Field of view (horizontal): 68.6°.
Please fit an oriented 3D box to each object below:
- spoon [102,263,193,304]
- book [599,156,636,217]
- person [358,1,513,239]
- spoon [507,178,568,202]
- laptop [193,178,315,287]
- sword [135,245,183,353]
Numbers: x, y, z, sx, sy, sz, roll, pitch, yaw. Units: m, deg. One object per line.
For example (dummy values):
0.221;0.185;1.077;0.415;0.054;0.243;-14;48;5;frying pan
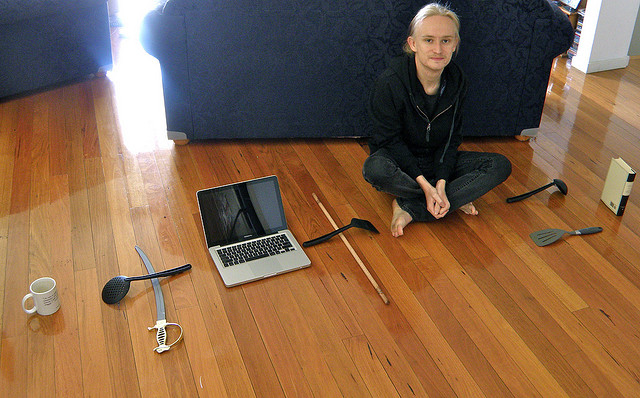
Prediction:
-0.955;0.492;2.688;0.509;0.036;0.164;-14;45;-21;spoon
1.919;-0.080;3.058;0.110;0.319;0.226;-11;34;-2;book
0.672;-0.481;2.953;0.892;1.204;0.769;-21;35;-15;person
1.449;-0.042;3.205;0.398;0.107;0.166;-17;35;1;spoon
-0.439;0.176;2.790;0.556;0.438;0.571;-21;35;-15;laptop
-0.844;0.519;2.530;0.170;0.044;0.519;-1;45;-22;sword
